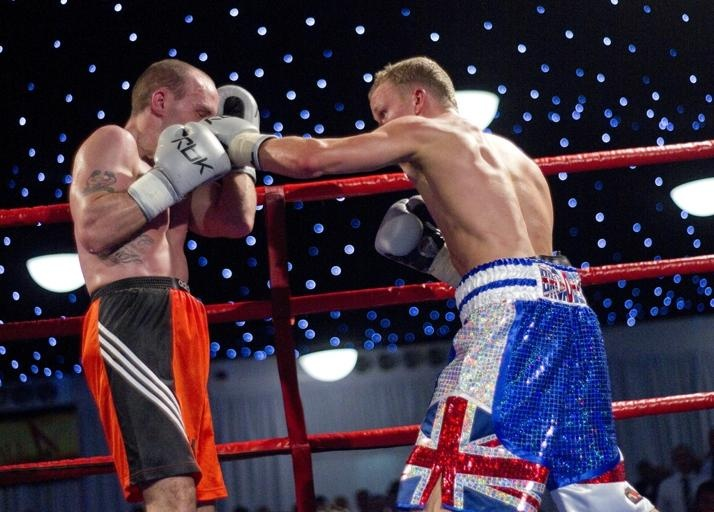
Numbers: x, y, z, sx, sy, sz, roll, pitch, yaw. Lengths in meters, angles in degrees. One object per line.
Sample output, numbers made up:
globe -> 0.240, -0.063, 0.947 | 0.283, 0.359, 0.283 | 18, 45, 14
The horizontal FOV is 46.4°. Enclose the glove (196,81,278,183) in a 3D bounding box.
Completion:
glove -> -0.594, -0.616, 4.051 | 0.319, 0.458, 0.150 | -3, -29, -36

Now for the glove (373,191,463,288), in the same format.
glove -> 0.301, -0.035, 4.194 | 0.359, 0.469, 0.213 | -44, 0, -9
